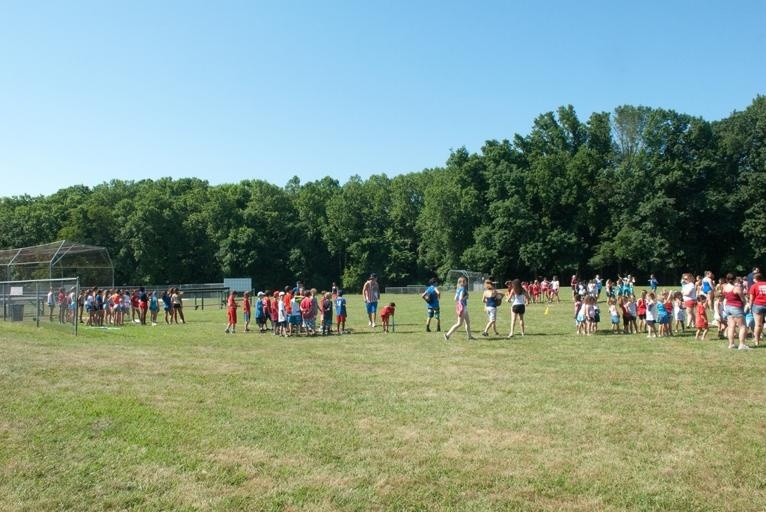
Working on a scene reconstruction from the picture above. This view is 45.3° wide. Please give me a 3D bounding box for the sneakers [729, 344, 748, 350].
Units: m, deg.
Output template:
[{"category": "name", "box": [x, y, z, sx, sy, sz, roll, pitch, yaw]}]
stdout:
[{"category": "sneakers", "box": [13.588, 3.513, 35.232, 0.646, 0.282, 0.243, -2, -6, 11]}]
